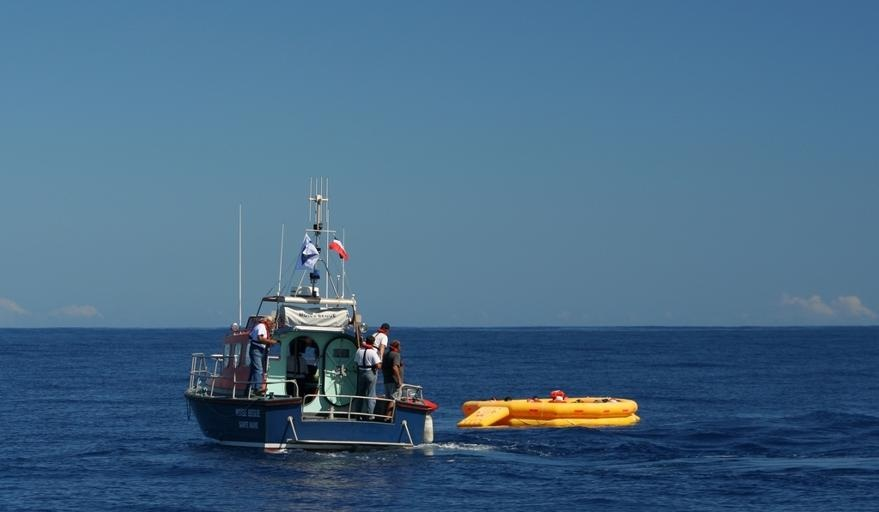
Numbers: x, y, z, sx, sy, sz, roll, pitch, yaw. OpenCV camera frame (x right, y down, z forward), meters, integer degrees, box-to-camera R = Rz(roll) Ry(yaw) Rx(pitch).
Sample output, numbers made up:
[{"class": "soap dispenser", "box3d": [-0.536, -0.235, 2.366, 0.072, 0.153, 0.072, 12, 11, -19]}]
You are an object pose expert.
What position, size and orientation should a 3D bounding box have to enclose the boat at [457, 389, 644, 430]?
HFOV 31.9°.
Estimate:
[{"class": "boat", "box3d": [8.751, 12.796, 125.023, 13.494, 1.939, 3.393, -1, 9, -5]}]
